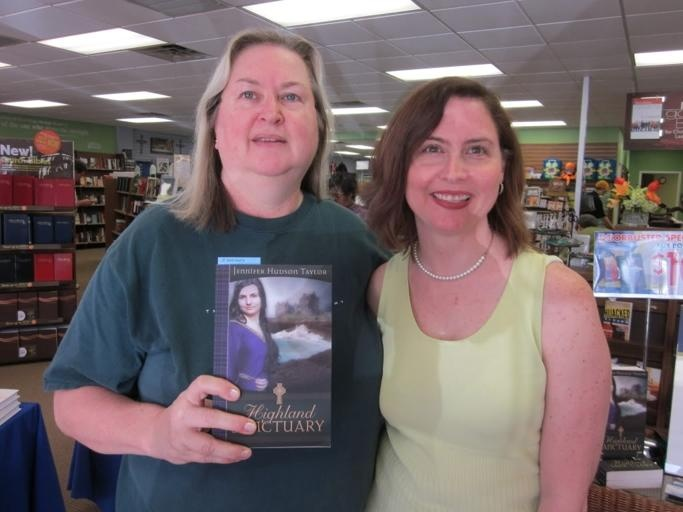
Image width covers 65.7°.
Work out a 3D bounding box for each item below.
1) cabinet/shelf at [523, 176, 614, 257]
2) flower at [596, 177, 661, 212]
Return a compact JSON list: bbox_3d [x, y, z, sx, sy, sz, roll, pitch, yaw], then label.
[{"bbox_3d":[3.378,-0.715,8.786,0.461,1.209,1.321,-11,13,-3],"label":"cabinet/shelf"},{"bbox_3d":[2.496,-0.590,4.633,0.336,0.211,0.251,20,15,-27],"label":"flower"}]
